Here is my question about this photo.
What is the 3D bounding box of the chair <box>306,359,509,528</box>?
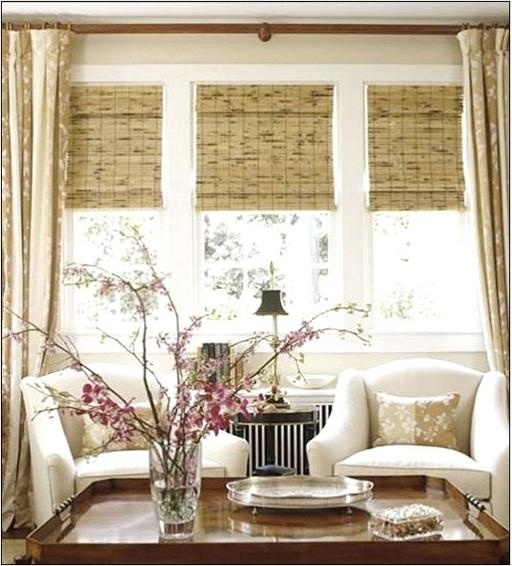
[{"bbox_3d":[0.798,0.772,3.604,0.743,0.888,0.795,-1,-17,9],"label":"chair"}]

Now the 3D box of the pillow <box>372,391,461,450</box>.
[{"bbox_3d":[0.848,0.733,3.580,0.434,0.272,0.147,-3,-9,23],"label":"pillow"}]

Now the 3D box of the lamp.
[{"bbox_3d":[0.100,0.348,3.697,0.199,0.616,0.194,-2,-3,7],"label":"lamp"}]

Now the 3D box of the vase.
[{"bbox_3d":[-0.264,0.669,2.222,0.167,0.317,0.103,-1,1,-11],"label":"vase"}]

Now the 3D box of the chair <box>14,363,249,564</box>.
[{"bbox_3d":[-0.766,0.858,3.794,1.044,1.250,1.121,5,-39,-12],"label":"chair"}]

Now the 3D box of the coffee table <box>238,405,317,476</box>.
[{"bbox_3d":[0.124,0.857,3.707,0.337,0.368,0.360,16,-22,-35],"label":"coffee table"}]
